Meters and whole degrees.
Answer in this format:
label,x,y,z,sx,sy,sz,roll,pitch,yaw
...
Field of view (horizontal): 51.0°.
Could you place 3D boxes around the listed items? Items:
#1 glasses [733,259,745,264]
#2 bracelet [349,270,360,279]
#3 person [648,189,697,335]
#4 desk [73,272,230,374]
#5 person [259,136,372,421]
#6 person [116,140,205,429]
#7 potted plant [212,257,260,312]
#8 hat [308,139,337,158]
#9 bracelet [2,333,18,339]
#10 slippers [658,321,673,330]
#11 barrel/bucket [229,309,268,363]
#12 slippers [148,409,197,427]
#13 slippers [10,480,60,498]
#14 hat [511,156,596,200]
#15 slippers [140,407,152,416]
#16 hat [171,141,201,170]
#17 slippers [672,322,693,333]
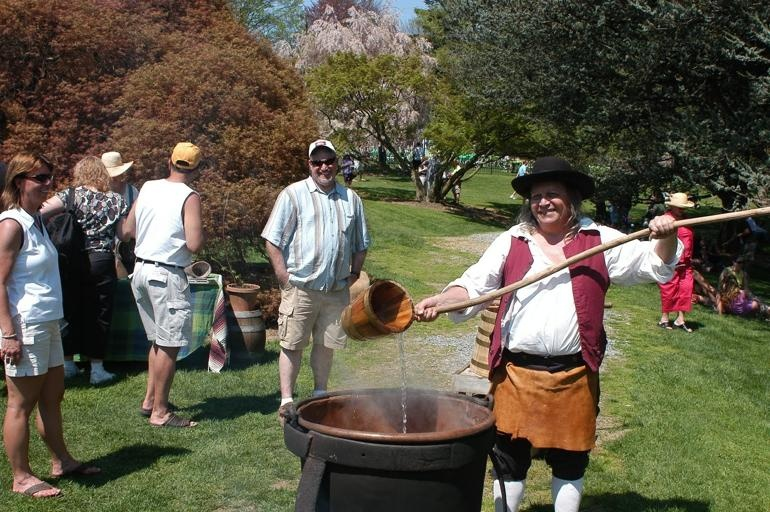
label,x,y,z,sx,sy,sz,roll,pitch,yaw
glasses,6.630,0.114,15.077,0.093,0.069,0.123,4,7,3
bracelet,-0.358,0.228,9.250,0.042,0.090,0.102,6,-10,43
person,5.039,0.068,13.903,0.785,2.307,0.781,11,-17,-20
desk,-2.703,0.894,10.793,1.402,0.781,1.419,1,5,7
person,-0.817,0.185,9.134,1.147,2.959,0.380,1,2,-8
person,-2.449,0.313,8.979,0.779,3.162,0.421,1,2,-12
potted plant,-1.960,0.423,10.670,0.528,0.933,0.424,2,7,25
hat,-0.743,-1.244,9.216,0.245,0.347,0.353,-3,7,-3
bracelet,-3.581,0.768,7.669,0.118,0.044,0.038,1,2,-25
slippers,4.864,1.215,13.952,0.097,0.113,0.265,-1,7,-36
barrel/bucket,-1.824,1.044,10.497,0.600,0.591,0.607,0,0,0
slippers,-2.391,1.838,9.005,0.404,0.145,0.221,-1,-2,-5
slippers,-3.406,2.259,7.831,0.350,0.143,0.197,0,3,27
hat,1.540,-0.754,7.539,0.655,0.261,0.725,3,-13,-30
slippers,-2.707,1.765,9.124,0.117,0.081,0.066,-1,2,24
hat,-2.243,-1.138,9.074,0.238,0.347,0.194,9,-29,-12
slippers,5.152,1.245,13.939,0.341,0.140,0.136,15,14,18
